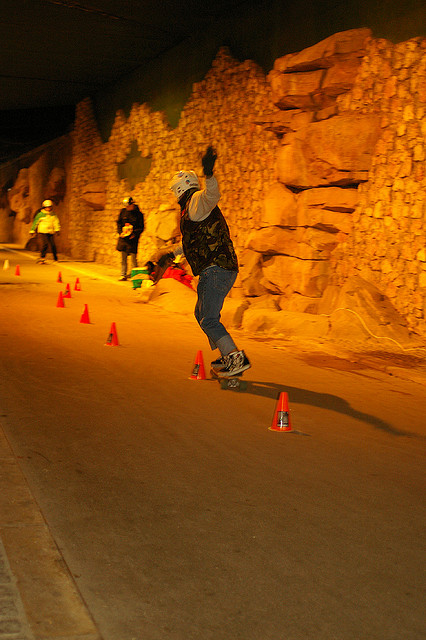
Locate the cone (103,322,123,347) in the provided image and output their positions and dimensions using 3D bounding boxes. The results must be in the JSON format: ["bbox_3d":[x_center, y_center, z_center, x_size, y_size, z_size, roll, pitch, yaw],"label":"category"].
[{"bbox_3d":[-1.332,0.199,6.844,0.229,0.214,0.386,8,3,-10],"label":"cone"}]

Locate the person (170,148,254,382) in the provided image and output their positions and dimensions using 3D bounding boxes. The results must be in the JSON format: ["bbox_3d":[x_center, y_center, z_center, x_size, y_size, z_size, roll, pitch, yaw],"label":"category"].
[{"bbox_3d":[-0.015,-0.471,5.007,0.980,1.719,0.814,9,4,-11],"label":"person"}]

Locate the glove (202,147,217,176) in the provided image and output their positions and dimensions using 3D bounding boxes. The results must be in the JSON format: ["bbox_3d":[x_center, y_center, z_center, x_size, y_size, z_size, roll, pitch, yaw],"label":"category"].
[{"bbox_3d":[-0.041,-1.400,4.499,0.108,0.185,0.186,9,4,-1],"label":"glove"}]

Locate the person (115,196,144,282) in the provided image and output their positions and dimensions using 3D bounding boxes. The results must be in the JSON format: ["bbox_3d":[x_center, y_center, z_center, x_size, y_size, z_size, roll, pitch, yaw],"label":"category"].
[{"bbox_3d":[-2.606,-2.487,15.739,0.781,1.811,0.660,9,4,-8],"label":"person"}]

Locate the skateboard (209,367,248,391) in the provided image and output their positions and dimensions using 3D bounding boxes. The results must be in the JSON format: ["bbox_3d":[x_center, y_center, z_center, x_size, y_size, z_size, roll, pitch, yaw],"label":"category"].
[{"bbox_3d":[0.088,0.595,5.172,0.522,0.155,0.199,8,17,34],"label":"skateboard"}]

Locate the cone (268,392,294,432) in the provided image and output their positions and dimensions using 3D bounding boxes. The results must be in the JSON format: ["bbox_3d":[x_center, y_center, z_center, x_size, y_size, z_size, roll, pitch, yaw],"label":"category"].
[{"bbox_3d":[0.538,0.710,3.944,0.264,0.294,0.227,0,-5,29],"label":"cone"}]
